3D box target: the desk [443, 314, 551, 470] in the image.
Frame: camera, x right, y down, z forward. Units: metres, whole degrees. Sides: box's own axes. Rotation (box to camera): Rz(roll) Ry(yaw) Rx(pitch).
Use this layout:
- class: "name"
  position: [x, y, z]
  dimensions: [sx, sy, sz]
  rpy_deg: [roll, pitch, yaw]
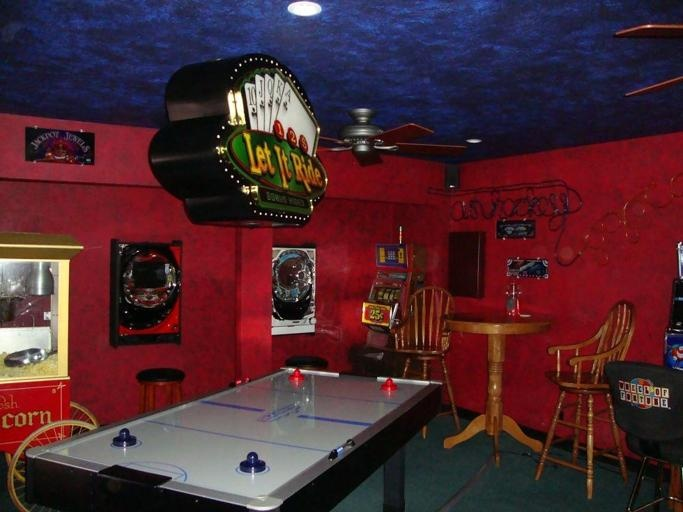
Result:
- class: "desk"
  position: [1.032, 1.194, 5.324]
  dimensions: [1.253, 1.402, 1.201]
  rpy_deg: [0, -5, -1]

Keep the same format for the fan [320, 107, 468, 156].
- class: "fan"
  position: [0.362, -0.866, 4.188]
  dimensions: [0.626, 0.155, 0.600]
  rpy_deg: [1, 1, -11]

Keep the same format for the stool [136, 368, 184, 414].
- class: "stool"
  position: [-1.605, 1.253, 5.058]
  dimensions: [0.424, 0.429, 0.385]
  rpy_deg: [-1, 1, -13]
